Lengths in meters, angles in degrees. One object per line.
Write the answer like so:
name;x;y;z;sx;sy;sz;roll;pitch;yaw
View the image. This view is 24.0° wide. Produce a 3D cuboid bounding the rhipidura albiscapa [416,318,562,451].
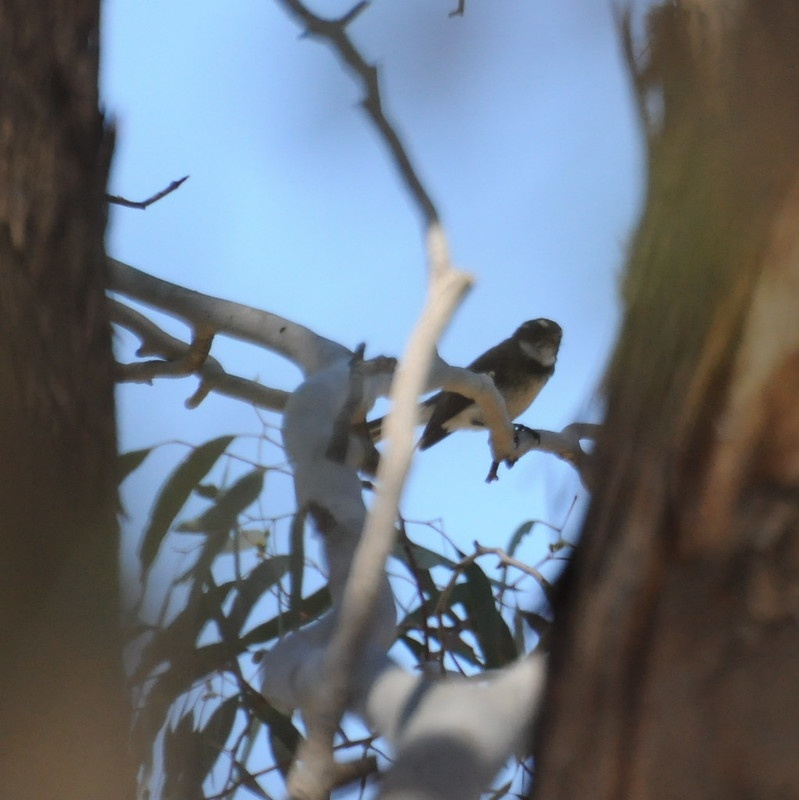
rhipidura albiscapa;0.054;-0.015;1.194;0.042;0.073;0.126;7;-10;-42
